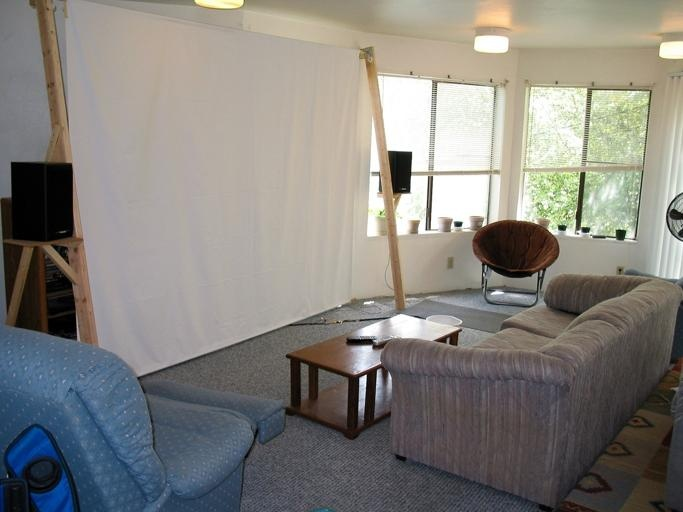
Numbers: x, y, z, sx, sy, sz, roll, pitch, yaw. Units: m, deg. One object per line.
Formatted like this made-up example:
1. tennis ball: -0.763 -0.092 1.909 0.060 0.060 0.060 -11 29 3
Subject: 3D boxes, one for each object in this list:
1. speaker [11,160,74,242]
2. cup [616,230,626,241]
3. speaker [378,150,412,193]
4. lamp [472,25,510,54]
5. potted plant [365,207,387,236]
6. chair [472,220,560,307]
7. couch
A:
1. speaker: -1.854 -0.373 3.192 0.374 0.494 0.232 -7 16 -28
2. cup: 3.518 -0.329 6.498 0.125 0.104 0.132 0 0 0
3. speaker: 0.662 -1.080 6.152 0.408 0.504 0.198 -3 14 -12
4. lamp: 1.628 -2.436 5.556 0.360 0.243 0.318 -7 16 -27
5. potted plant: 0.441 -0.502 6.422 0.314 0.377 0.306 1 2 30
6. chair: 2.091 0.003 6.317 1.049 0.908 1.103 4 19 14
7. couch: 1.255 0.782 3.136 1.933 0.911 0.812 -8 16 -32
